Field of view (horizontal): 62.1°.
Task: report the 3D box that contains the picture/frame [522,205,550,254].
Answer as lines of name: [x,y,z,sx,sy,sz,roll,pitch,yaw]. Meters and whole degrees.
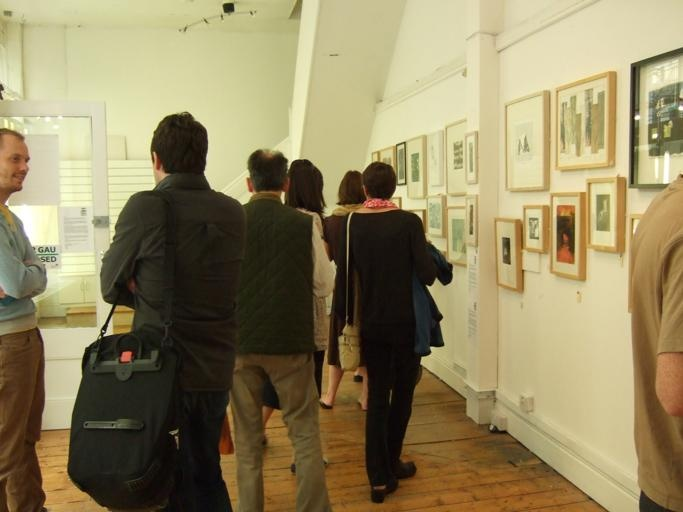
picture/frame: [1.268,-0.177,3.674,0.036,0.261,0.282,0,5,-15]

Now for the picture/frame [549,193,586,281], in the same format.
picture/frame: [1.379,-0.133,3.443,0.073,0.514,0.293,-3,10,-12]

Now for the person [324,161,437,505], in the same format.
person: [0.278,0.443,3.420,0.586,1.974,0.383,-4,10,-15]

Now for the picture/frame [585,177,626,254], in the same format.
picture/frame: [1.477,-0.235,3.171,0.057,0.407,0.265,-5,10,-22]

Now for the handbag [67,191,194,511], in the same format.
handbag: [-0.890,0.387,2.338,0.434,1.257,0.382,-3,9,-9]
